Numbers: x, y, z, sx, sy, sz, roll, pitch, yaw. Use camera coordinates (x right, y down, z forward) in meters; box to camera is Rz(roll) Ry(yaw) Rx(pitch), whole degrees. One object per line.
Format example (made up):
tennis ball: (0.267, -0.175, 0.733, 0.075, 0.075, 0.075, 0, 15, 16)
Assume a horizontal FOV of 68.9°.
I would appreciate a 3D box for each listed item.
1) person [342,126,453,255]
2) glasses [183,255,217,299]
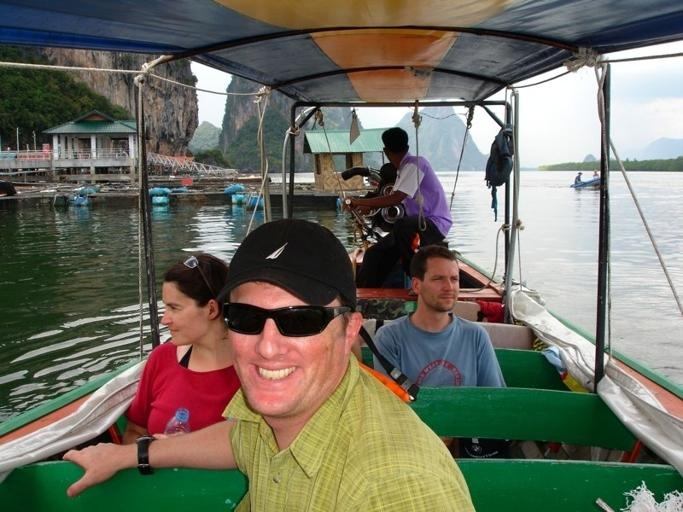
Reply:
person: (0.876, -0.979, 6.227, 1.411, 1.832, 1.061, 0, 9, 9)
glasses: (-0.778, 0.107, 2.912, 0.211, 0.211, 0.063, 11, 41, 41)
